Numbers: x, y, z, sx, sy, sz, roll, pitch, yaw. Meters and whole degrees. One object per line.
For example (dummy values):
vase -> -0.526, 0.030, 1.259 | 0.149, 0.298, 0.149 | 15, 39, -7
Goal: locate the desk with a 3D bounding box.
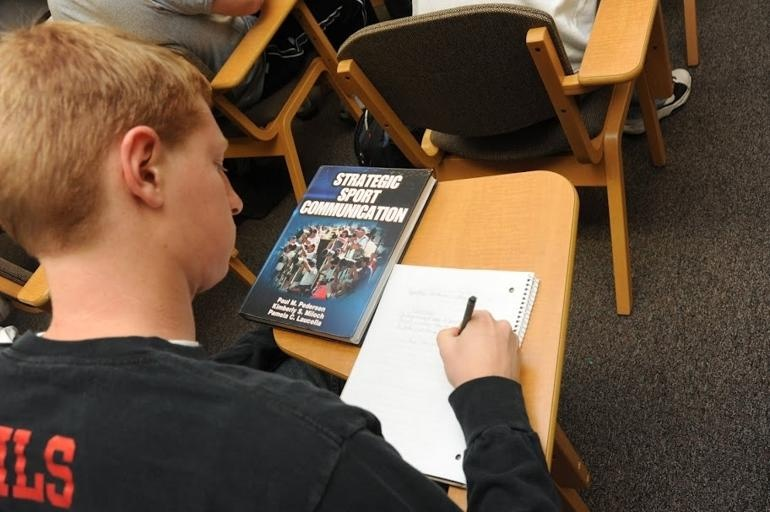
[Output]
desk -> 0.144, 0.136, 1.627 | 0.553, 0.707, 0.755 | 10, 52, 13

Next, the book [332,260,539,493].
book -> 0.050, 0.208, 1.180 | 0.302, 0.057, 0.435 | 6, 65, 26

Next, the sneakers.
sneakers -> 0.934, -0.523, 2.115 | 0.304, 0.139, 0.110 | -43, 66, -2

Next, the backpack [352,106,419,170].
backpack -> 0.006, -0.425, 2.292 | 0.193, 0.278, 0.259 | -3, 25, -7

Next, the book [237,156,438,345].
book -> -0.112, -0.038, 1.395 | 0.336, 0.047, 0.461 | 6, 58, 35
